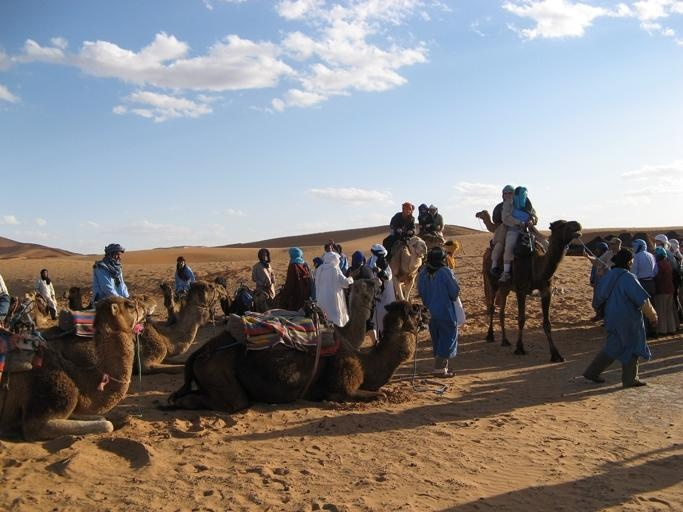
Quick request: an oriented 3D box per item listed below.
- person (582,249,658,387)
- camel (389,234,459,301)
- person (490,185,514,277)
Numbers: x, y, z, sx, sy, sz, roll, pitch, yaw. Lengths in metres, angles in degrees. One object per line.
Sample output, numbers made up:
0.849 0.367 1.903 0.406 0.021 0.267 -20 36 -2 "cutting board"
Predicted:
4.632 1.028 8.088 0.925 2.007 0.422 5 3 33 "person"
1.693 0.165 10.943 1.412 1.485 1.119 2 4 -7 "camel"
3.856 -0.633 11.762 0.809 2.197 0.751 -1 -9 22 "person"
